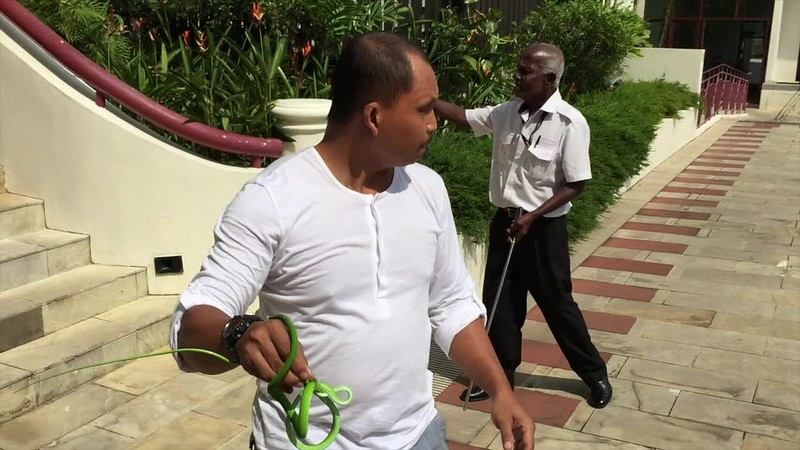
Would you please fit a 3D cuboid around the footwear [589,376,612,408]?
[{"bbox_3d":[1.824,1.559,4.664,0.157,0.141,0.319,12,63,35],"label":"footwear"}]

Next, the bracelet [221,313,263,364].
[{"bbox_3d":[-0.594,0.428,1.921,0.150,0.165,0.099,-18,27,-29],"label":"bracelet"}]
